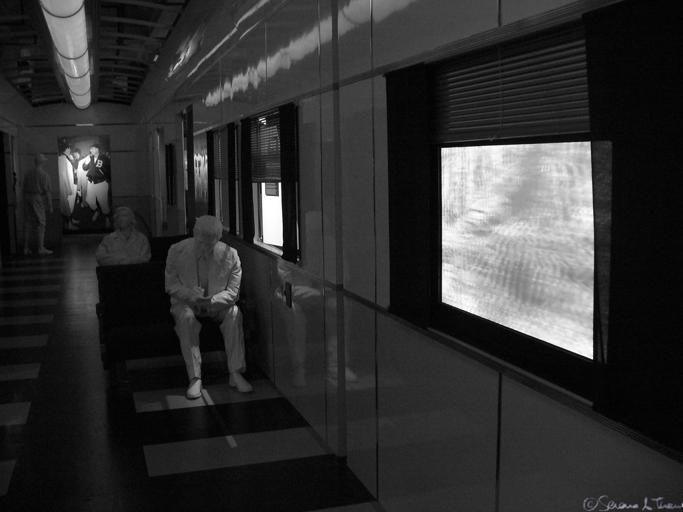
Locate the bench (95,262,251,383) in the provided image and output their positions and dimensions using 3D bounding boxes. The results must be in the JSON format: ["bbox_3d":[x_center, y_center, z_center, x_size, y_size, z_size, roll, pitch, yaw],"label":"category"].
[{"bbox_3d":[-2.075,0.661,6.267,1.994,1.525,1.057,-2,-1,-23],"label":"bench"}]

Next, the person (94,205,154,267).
[{"bbox_3d":[-3.014,-0.291,7.265,0.622,0.754,0.613,-6,10,-44],"label":"person"}]

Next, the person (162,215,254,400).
[{"bbox_3d":[-1.497,0.505,5.827,0.834,1.863,0.812,-1,7,-19],"label":"person"}]
